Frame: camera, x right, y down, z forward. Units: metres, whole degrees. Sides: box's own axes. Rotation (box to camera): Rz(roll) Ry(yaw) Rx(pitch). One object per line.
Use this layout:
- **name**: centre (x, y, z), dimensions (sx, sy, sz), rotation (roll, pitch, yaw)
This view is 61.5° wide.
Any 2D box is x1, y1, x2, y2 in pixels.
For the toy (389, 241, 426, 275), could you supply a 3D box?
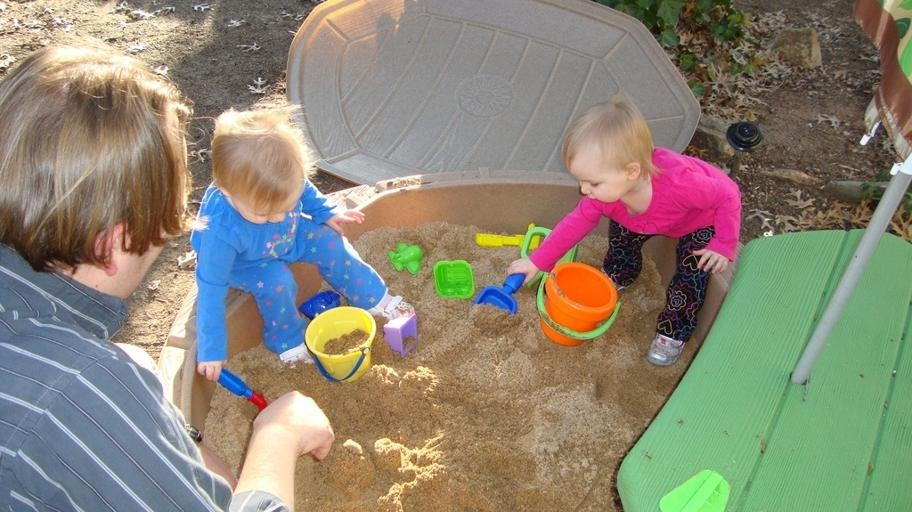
- **toy**: centre (-0.289, 0.006, 4.547), dimensions (0.177, 0.188, 0.066), rotation (-25, -5, -17)

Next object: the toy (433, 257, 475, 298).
- **toy**: centre (-0.013, 0.133, 4.503), dimensions (0.251, 0.158, 0.188), rotation (5, 30, -2)

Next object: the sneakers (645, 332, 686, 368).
- **sneakers**: centre (1.137, 0.522, 4.274), dimensions (0.217, 0.214, 0.134), rotation (22, -3, 10)

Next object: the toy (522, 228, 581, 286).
- **toy**: centre (0.526, -0.024, 4.646), dimensions (0.340, 0.352, 0.126), rotation (9, -7, 22)

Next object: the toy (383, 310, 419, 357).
- **toy**: centre (-0.293, 0.416, 4.266), dimensions (0.207, 0.247, 0.205), rotation (-2, 22, 16)

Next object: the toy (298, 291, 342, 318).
- **toy**: centre (-0.791, 0.271, 4.449), dimensions (0.213, 0.045, 0.130), rotation (-32, 66, -7)

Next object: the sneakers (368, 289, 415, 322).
- **sneakers**: centre (-0.384, 0.284, 4.369), dimensions (0.258, 0.142, 0.088), rotation (19, -2, -15)

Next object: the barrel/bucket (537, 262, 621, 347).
- **barrel/bucket**: centre (0.649, 0.302, 4.348), dimensions (0.456, 0.345, 0.462), rotation (14, 53, -19)
